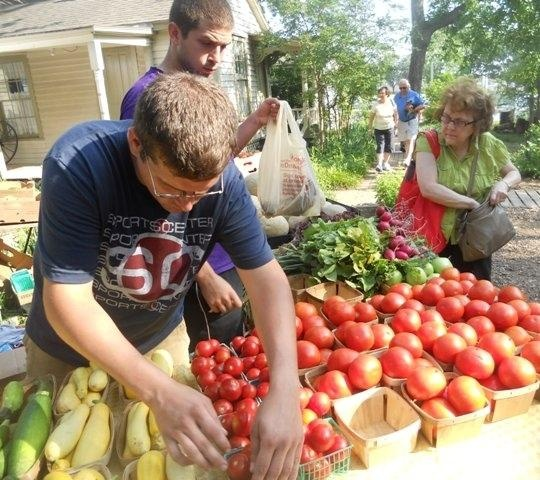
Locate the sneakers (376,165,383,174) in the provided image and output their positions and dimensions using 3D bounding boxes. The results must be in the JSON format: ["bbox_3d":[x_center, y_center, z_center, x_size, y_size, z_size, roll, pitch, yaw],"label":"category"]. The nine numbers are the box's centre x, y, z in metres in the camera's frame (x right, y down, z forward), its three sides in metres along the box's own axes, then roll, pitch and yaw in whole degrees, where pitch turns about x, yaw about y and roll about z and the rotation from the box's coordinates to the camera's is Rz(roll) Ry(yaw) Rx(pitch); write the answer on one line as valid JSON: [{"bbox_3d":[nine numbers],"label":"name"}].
[{"bbox_3d":[3.212,-2.094,11.144,0.193,0.123,0.255,14,62,13],"label":"sneakers"}]

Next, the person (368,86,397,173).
[{"bbox_3d":[3.326,-3.203,11.027,0.655,2.375,1.029,-2,19,-4],"label":"person"}]

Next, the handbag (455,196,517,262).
[{"bbox_3d":[1.804,-0.110,3.179,0.460,0.412,0.237,-28,18,-19],"label":"handbag"}]

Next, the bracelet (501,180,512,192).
[{"bbox_3d":[1.973,-0.450,3.179,0.060,0.044,0.118,-5,52,2],"label":"bracelet"}]

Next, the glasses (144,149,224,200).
[{"bbox_3d":[-0.270,-0.194,1.233,0.206,0.175,0.265,-1,19,-1],"label":"glasses"}]

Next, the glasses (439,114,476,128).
[{"bbox_3d":[1.492,-0.953,3.019,0.251,0.091,0.115,10,22,27],"label":"glasses"}]
